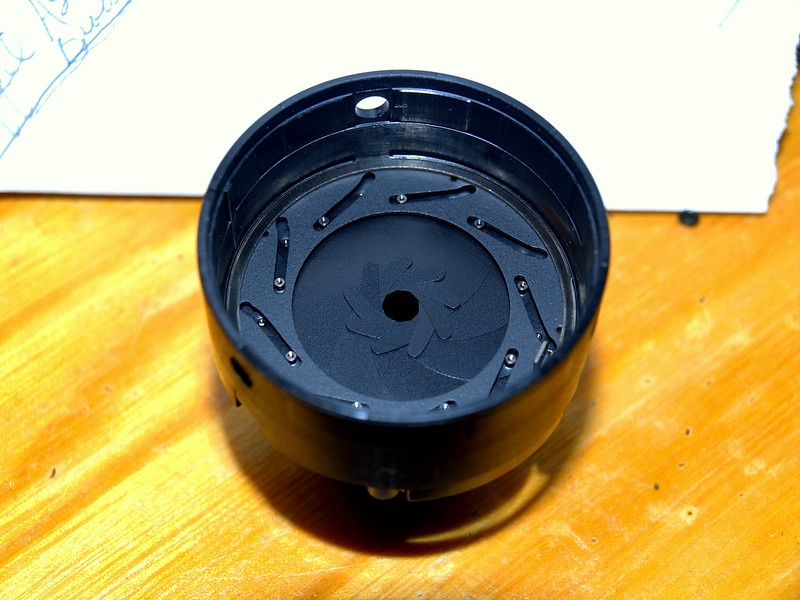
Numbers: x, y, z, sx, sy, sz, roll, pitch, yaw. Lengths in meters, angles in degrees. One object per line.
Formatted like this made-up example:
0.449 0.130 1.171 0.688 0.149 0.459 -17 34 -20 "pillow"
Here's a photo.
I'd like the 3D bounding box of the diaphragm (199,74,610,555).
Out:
0.004 0.028 0.883 0.427 0.296 0.488 0 64 -3 "diaphragm"
